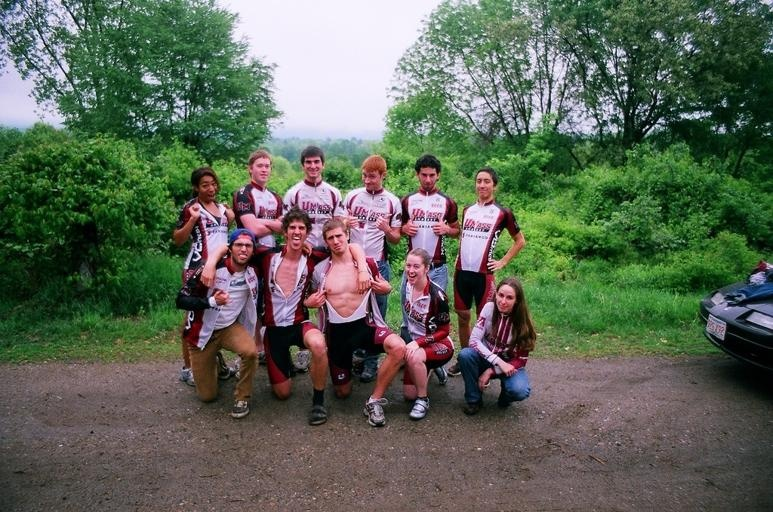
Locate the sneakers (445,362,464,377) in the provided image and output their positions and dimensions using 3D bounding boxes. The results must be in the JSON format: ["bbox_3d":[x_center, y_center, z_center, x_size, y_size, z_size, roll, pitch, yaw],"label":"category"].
[{"bbox_3d":[1.201,2.014,9.816,0.178,0.192,0.457,-3,-14,18],"label":"sneakers"}]

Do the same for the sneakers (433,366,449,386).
[{"bbox_3d":[0.916,2.058,9.501,0.230,0.172,0.631,-6,-23,-2],"label":"sneakers"}]

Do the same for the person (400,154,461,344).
[{"bbox_3d":[0.664,-0.076,9.839,1.087,3.176,0.971,3,6,21],"label":"person"}]

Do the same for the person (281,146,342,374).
[{"bbox_3d":[-1.253,-0.277,9.549,1.066,3.034,0.900,-2,2,4],"label":"person"}]

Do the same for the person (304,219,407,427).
[{"bbox_3d":[-0.455,1.004,8.847,1.321,3.142,0.642,2,6,32],"label":"person"}]

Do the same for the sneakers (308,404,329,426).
[{"bbox_3d":[-1.055,2.446,8.535,0.240,0.210,0.509,0,-9,-5],"label":"sneakers"}]
